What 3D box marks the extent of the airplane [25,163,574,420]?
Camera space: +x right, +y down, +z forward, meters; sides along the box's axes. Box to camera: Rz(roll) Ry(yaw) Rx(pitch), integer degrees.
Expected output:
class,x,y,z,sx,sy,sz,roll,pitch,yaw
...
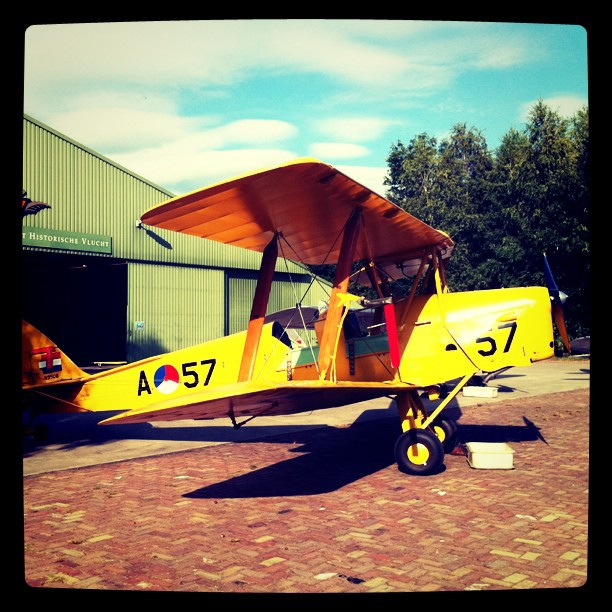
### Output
class,x,y,z,sx,sy,sz,roll,pitch,yaw
airplane,0.050,0.161,7.715,4.680,1.195,5.039,-6,-2,14

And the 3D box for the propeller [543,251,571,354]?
class,x,y,z,sx,sy,sz,roll,pitch,yaw
propeller,3.321,-0.161,8.864,0.204,0.145,1.481,2,-32,29

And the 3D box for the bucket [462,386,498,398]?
class,x,y,z,sx,sy,sz,roll,pitch,yaw
bucket,3.918,1.952,14.957,0.789,0.259,0.353,0,0,28
